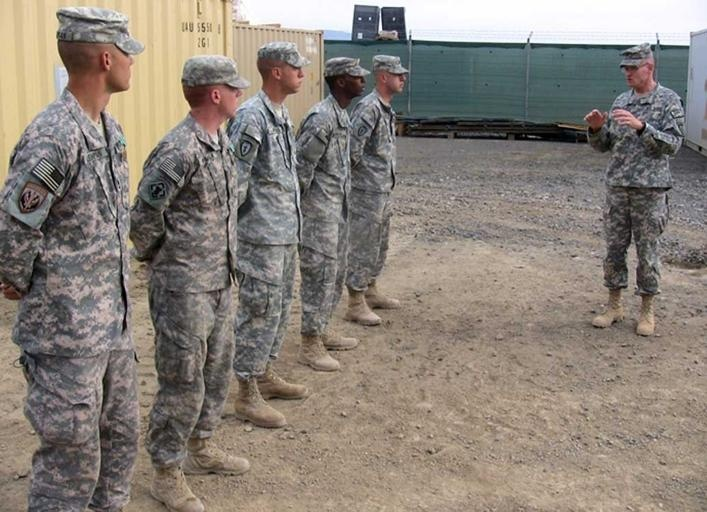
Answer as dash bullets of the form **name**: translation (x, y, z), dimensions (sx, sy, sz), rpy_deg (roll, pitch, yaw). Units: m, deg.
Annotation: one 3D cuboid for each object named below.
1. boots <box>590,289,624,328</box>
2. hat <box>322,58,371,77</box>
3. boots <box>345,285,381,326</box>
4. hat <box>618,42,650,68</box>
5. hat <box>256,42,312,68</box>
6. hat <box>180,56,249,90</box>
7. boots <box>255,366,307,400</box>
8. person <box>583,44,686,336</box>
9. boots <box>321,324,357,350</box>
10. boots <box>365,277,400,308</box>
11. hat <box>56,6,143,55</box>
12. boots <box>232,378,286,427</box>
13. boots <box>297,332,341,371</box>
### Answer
- **boots**: translation (2.493, 0.506, 6.994), dimensions (0.360, 0.329, 0.147), rpy_deg (-23, -24, 40)
- **hat**: translation (-0.048, -1.582, 6.006), dimensions (0.349, 0.120, 0.221), rpy_deg (-4, 18, -14)
- **boots**: translation (0.101, 0.477, 7.012), dimensions (0.382, 0.359, 0.193), rpy_deg (10, 16, 18)
- **hat**: translation (2.572, -1.806, 6.565), dimensions (0.255, 0.206, 0.368), rpy_deg (5, 15, 19)
- **hat**: translation (-0.492, -1.402, 5.087), dimensions (0.312, 0.111, 0.198), rpy_deg (1, 18, -8)
- **hat**: translation (-0.826, -1.081, 4.214), dimensions (0.311, 0.132, 0.214), rpy_deg (-9, 24, -24)
- **boots**: translation (-0.589, 0.950, 5.665), dimensions (0.491, 0.325, 0.169), rpy_deg (-3, 16, -9)
- **person**: translation (2.590, -0.617, 6.744), dimensions (0.764, 2.584, 0.644), rpy_deg (11, 18, 36)
- **boots**: translation (-0.136, 0.719, 6.514), dimensions (0.386, 0.202, 0.142), rpy_deg (-1, 19, -2)
- **boots**: translation (0.361, 0.370, 7.468), dimensions (0.470, 0.349, 0.179), rpy_deg (-4, 17, -10)
- **hat**: translation (-1.277, -1.127, 3.593), dimensions (0.350, 0.152, 0.245), rpy_deg (-1, 24, -19)
- **boots**: translation (-0.676, 1.047, 5.209), dimensions (0.436, 0.302, 0.152), rpy_deg (12, 15, 33)
- **boots**: translation (-0.290, 0.773, 6.066), dimensions (0.357, 0.322, 0.157), rpy_deg (15, 29, 16)
